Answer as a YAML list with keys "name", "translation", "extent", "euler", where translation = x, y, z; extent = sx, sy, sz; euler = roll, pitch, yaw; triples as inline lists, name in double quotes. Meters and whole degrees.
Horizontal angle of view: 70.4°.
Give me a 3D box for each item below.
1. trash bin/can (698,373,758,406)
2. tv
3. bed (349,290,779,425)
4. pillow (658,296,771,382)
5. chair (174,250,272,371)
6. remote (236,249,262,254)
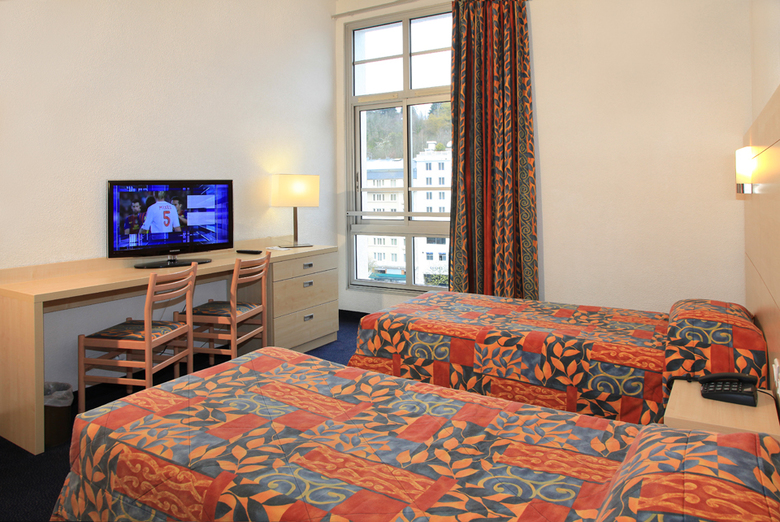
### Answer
- name: "trash bin/can"
  translation: [1.658, 0.625, 2.694]
  extent: [0.191, 0.075, 0.177]
  euler: [-2, 10, 23]
- name: "tv"
  translation: [-1.792, -0.224, 4.701]
  extent: [1.076, 0.679, 0.273]
  euler: [-10, -27, 36]
- name: "bed"
  translation: [1.021, 0.555, 3.546]
  extent: [1.793, 0.461, 1.065]
  euler: [1, 4, 25]
- name: "pillow"
  translation: [1.774, 0.321, 3.041]
  extent: [0.392, 0.173, 0.672]
  euler: [0, 5, 18]
- name: "chair"
  translation: [-1.381, 0.413, 4.596]
  extent: [0.693, 0.946, 0.643]
  euler: [2, 7, 23]
- name: "remote"
  translation: [-1.295, -0.083, 5.041]
  extent: [0.151, 0.034, 0.038]
  euler: [2, 5, 17]
